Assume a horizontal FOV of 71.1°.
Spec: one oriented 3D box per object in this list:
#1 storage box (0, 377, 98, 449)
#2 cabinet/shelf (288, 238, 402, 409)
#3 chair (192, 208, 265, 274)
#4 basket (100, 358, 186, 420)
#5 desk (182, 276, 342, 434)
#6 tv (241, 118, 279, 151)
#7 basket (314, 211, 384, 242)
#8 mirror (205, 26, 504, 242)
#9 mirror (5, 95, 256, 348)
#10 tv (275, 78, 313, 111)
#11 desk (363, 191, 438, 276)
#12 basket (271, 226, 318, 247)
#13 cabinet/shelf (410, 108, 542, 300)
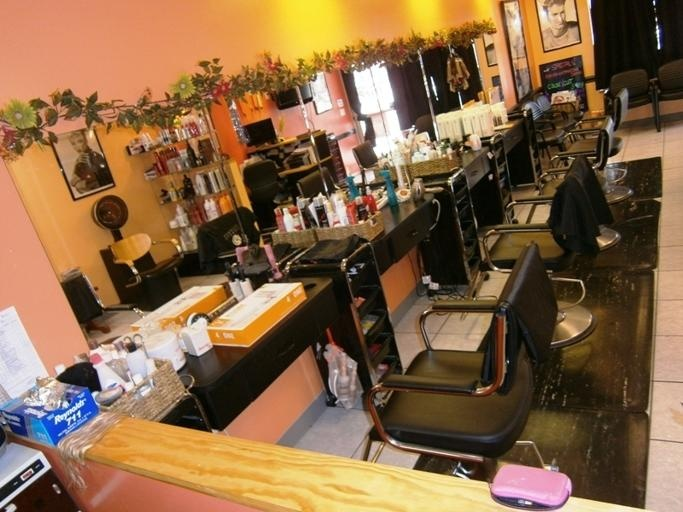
[{"bbox_3d":[-1.042,0.541,1.703,0.300,0.070,0.206,5,18,30],"label":"storage box"},{"bbox_3d":[0.004,0.418,2.865,0.437,1.252,0.640,10,28,32],"label":"cabinet/shelf"},{"bbox_3d":[-0.718,-0.084,2.958,0.161,0.227,0.366,6,23,33],"label":"chair"},{"bbox_3d":[-0.763,0.521,1.865,0.218,0.135,0.217,-9,16,1],"label":"basket"},{"bbox_3d":[-0.381,0.456,2.418,0.237,0.266,0.920,2,24,40],"label":"desk"},{"bbox_3d":[-0.558,-0.799,3.195,0.249,0.175,0.025,-18,-2,-35],"label":"tv"},{"bbox_3d":[0.038,-0.146,3.042,0.446,0.124,0.195,-12,19,8],"label":"basket"},{"bbox_3d":[0.088,-0.913,3.759,2.362,0.894,0.303,-32,42,-28],"label":"mirror"},{"bbox_3d":[-1.036,-0.400,2.620,0.110,0.632,1.429,0,24,38],"label":"mirror"},{"bbox_3d":[-0.355,-1.166,3.537,0.077,0.140,0.417,-3,22,32],"label":"tv"},{"bbox_3d":[0.409,-0.148,3.217,0.452,0.188,0.769,9,38,37],"label":"desk"},{"bbox_3d":[-0.307,-0.147,3.249,0.201,0.069,0.151,10,26,28],"label":"basket"},{"bbox_3d":[1.065,-0.442,4.003,0.674,0.818,1.873,6,36,26],"label":"cabinet/shelf"}]
